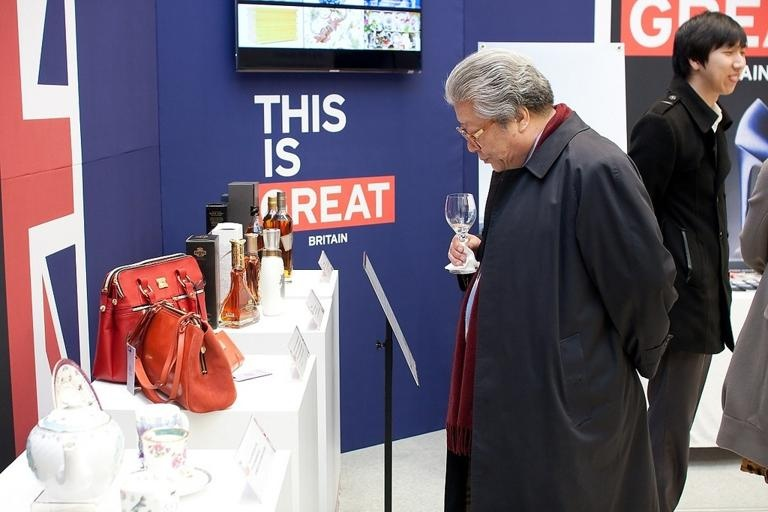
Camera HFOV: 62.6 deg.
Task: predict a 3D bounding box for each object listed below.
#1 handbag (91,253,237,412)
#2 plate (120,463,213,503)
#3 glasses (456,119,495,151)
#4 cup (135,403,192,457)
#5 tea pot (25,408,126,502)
[{"bbox_3d":[-0.756,0.259,2.131,0.413,0.489,0.406,-6,6,-29],"label":"handbag"},{"bbox_3d":[-0.548,0.569,1.682,0.136,0.026,0.147,6,16,7],"label":"plate"},{"bbox_3d":[0.313,-0.399,2.101,0.085,0.047,0.108,17,51,42],"label":"glasses"},{"bbox_3d":[-0.604,0.446,1.732,0.161,0.132,0.127,1,0,-27],"label":"cup"},{"bbox_3d":[-0.763,0.492,1.562,0.212,0.221,0.115,-1,5,13],"label":"tea pot"}]
